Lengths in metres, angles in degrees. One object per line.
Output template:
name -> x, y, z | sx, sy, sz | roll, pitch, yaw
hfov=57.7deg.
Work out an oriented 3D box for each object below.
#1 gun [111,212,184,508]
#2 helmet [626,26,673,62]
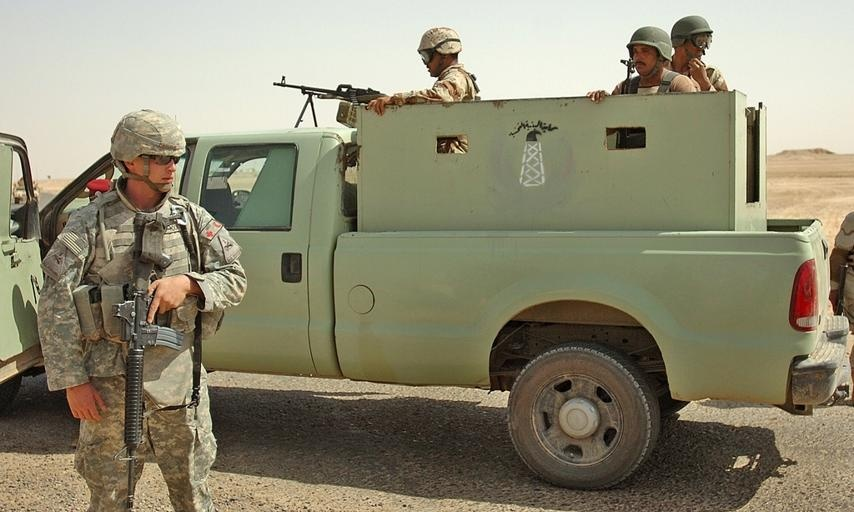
gun -> -1.763, 0.599, 4.873 | 0.159, 1.829, 0.741 | -7, -12, 33
helmet -> 2.042, -1.906, 6.978 | 0.401, 0.278, 0.329 | -1, 9, 0
